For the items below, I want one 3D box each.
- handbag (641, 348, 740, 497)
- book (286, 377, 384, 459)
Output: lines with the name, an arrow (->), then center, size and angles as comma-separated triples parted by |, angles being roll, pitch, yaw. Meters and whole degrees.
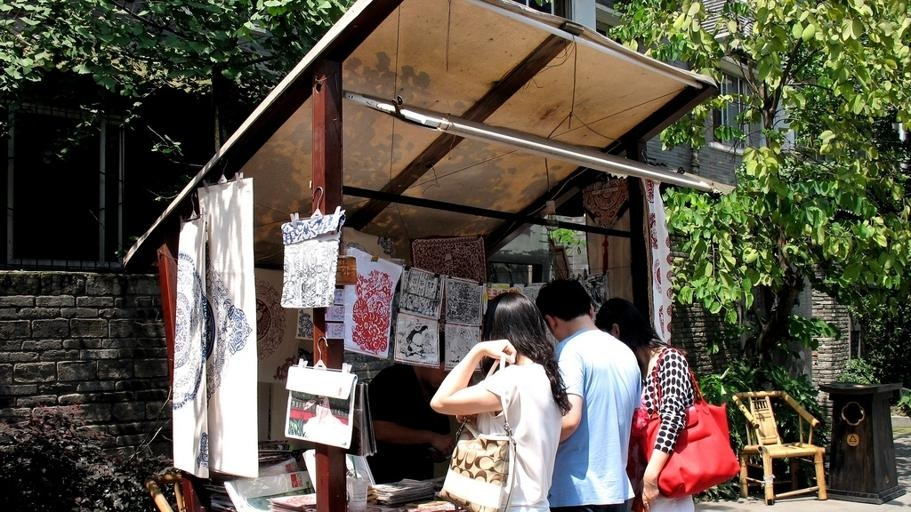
handbag -> 2.457, 1.796, 8.515 | 1.059, 1.573, 0.404 | 3, -9, -15
book -> -1.272, 1.705, 8.252 | 1.095, 0.806, 0.337 | 0, -8, 27
